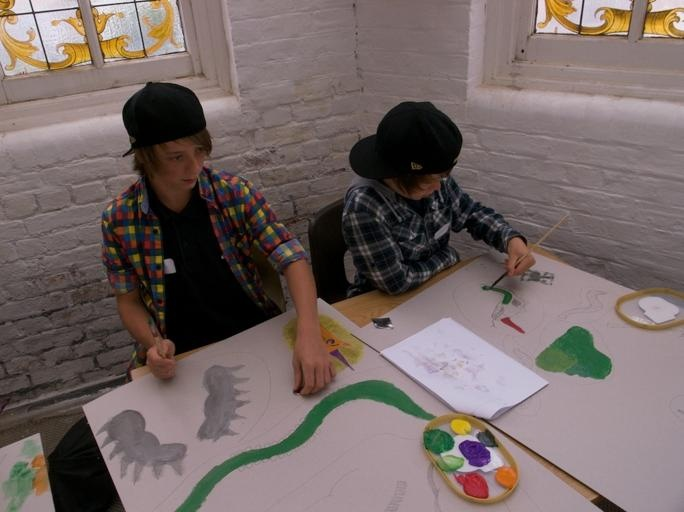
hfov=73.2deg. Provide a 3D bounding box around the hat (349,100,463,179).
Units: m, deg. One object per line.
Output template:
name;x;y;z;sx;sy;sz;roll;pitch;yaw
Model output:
hat;0.196;-0.428;1.540;0.446;0.183;0.306;2;39;3

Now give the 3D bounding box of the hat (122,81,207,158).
hat;-0.513;-0.393;1.376;0.244;0.150;0.186;-3;38;31

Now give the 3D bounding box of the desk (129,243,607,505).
desk;0.212;0.157;1.532;0.681;0.219;1.059;-33;49;-24

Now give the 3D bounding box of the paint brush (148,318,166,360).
paint brush;-0.576;0.226;1.422;0.052;0.013;0.245;-47;38;14

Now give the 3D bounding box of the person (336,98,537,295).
person;0.344;-0.020;1.782;0.624;1.045;0.456;-1;35;2

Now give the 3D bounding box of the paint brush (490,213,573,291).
paint brush;0.720;-0.015;1.739;0.015;0.381;0.017;36;10;-1
